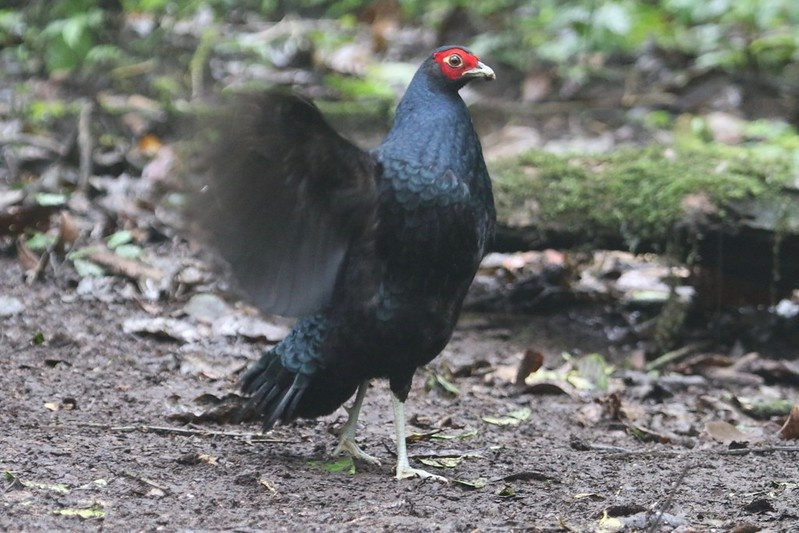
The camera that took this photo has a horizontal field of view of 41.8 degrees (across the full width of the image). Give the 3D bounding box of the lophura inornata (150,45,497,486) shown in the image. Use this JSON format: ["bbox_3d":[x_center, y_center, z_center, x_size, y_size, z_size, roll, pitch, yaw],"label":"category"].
[{"bbox_3d":[-0.382,-0.083,6.748,1.922,2.034,0.744,8,5,-10],"label":"lophura inornata"}]
